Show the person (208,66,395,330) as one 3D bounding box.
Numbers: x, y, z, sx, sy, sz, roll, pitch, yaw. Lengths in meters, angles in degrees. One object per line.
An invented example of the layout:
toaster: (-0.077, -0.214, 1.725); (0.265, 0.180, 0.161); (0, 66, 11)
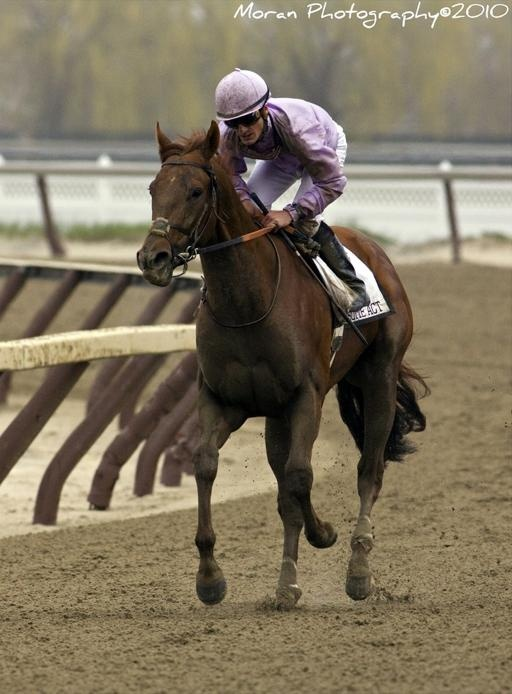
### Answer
person: (0.132, -0.496, 3.717); (0.458, 0.892, 0.691); (12, 17, 44)

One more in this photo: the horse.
horse: (0.163, 0.081, 3.699); (0.775, 1.856, 1.358); (0, 27, 8)

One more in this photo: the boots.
boots: (0.306, -0.274, 3.796); (0.096, 0.369, 0.224); (-25, 0, 31)

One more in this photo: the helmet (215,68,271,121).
helmet: (-0.045, -0.816, 3.416); (0.177, 0.159, 0.217); (-3, 25, 0)
